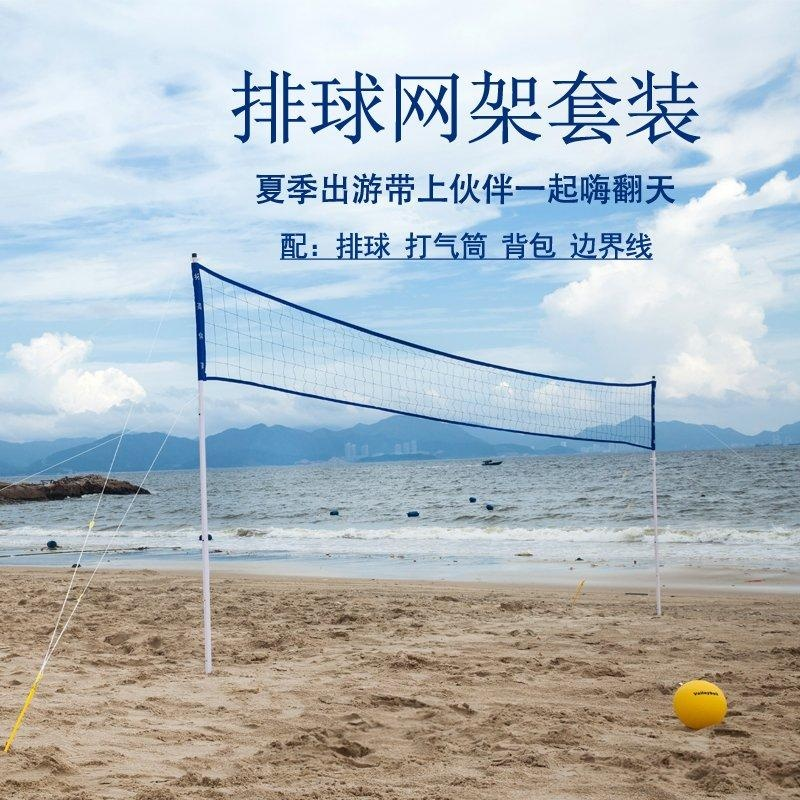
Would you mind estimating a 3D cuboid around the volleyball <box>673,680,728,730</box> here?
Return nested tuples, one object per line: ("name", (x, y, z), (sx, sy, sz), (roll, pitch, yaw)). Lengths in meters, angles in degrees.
("volleyball", (2.309, 2.342, 8.725), (0.401, 0.348, 0.386), (3, -3, 32))
